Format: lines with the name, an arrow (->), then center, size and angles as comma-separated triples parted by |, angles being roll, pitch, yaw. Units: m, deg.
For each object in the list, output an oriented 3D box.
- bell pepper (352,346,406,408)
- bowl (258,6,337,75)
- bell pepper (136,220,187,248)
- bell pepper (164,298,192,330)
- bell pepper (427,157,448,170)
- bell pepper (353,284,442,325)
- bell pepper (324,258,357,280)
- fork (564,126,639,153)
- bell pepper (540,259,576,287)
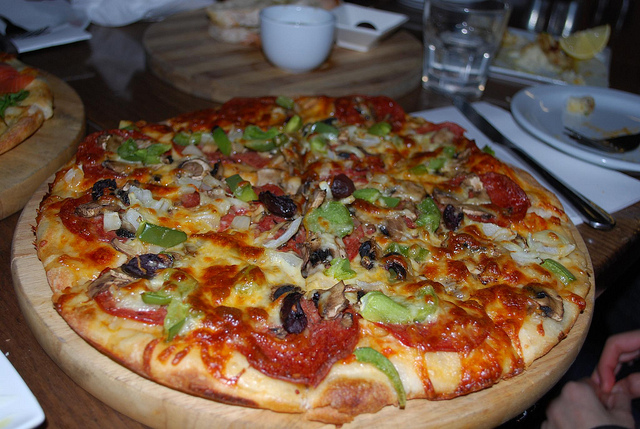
bell pepper -> 0.253, 0.709, 2.243 | 0.239, 0.103, 0.388 | 8, 26, 11
bowl -> -0.169, -1.264, 3.777 | 0.540, 0.367, 0.544 | 2, 25, -1
bell pepper -> -0.802, 0.099, 2.556 | 0.251, 0.068, 0.113 | 14, 58, 12
bell pepper -> -0.631, 0.443, 2.294 | 0.103, 0.039, 0.131 | 9, 57, 9
bell pepper -> 0.697, -0.306, 3.081 | 0.070, 0.020, 0.104 | 34, 52, 31
bell pepper -> 0.376, 0.420, 2.379 | 0.380, 0.107, 0.160 | -10, 56, -3
bell pepper -> 0.107, 0.261, 2.529 | 0.130, 0.038, 0.099 | 20, 36, 25
fork -> 1.936, -0.509, 3.569 | 0.588, 0.083, 0.083 | 16, 71, 4
bell pepper -> 1.192, 0.281, 2.581 | 0.092, 0.044, 0.142 | -31, 50, -22
